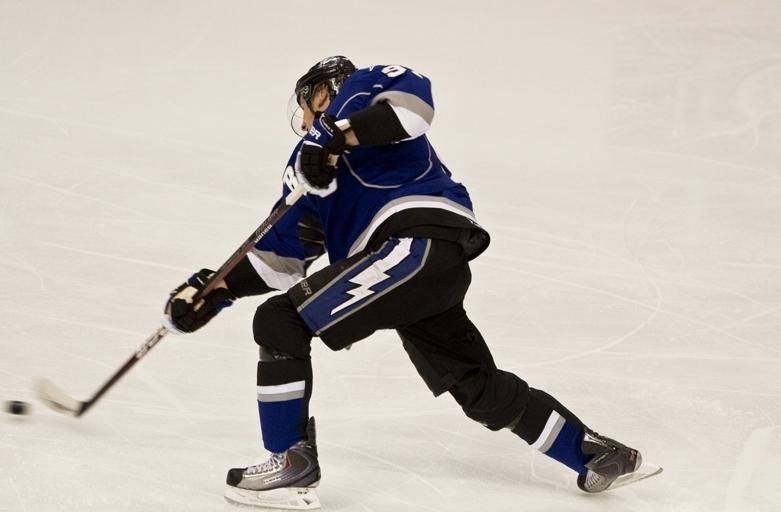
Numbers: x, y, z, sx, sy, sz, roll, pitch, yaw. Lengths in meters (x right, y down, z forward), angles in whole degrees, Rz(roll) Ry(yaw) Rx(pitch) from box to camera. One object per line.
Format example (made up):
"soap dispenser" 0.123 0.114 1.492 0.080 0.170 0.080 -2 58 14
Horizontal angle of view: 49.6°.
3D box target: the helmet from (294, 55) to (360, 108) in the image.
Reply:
"helmet" -0.323 -1.003 4.808 0.353 0.241 0.263 -7 14 19

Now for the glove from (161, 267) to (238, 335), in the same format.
"glove" -1.095 0.267 4.889 0.328 0.413 0.163 47 -17 2

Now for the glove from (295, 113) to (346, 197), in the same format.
"glove" -0.382 -0.534 4.461 0.183 0.388 0.314 20 4 42

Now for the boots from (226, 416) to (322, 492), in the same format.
"boots" -0.616 1.105 4.572 0.582 0.347 0.194 -10 -15 16
